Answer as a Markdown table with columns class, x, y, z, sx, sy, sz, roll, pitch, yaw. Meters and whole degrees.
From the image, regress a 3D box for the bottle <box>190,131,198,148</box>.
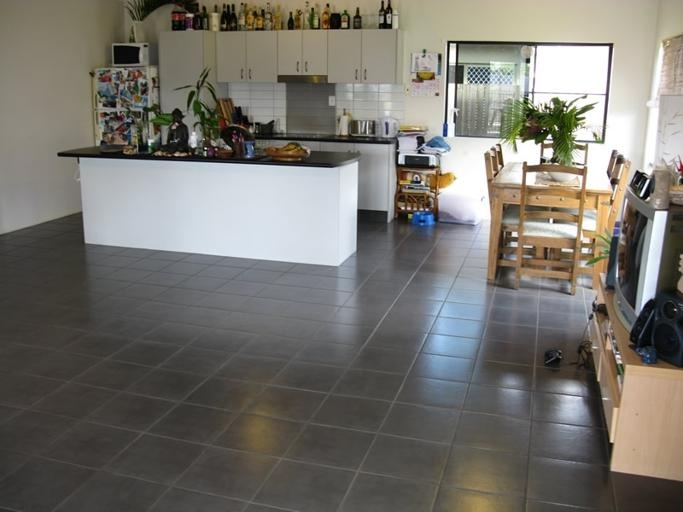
| class | x | y | z | sx | sy | sz | roll | pitch | yaw |
| --- | --- | --- | --- | --- | --- | --- | --- | --- | --- |
| bottle | -1.683 | -1.311 | 5.695 | 0.085 | 0.168 | 0.249 | -5 | 18 | -12 |

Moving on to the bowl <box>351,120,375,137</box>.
| class | x | y | z | sx | sy | sz | roll | pitch | yaw |
| --- | --- | --- | --- | --- | --- | --- | --- | --- | --- |
| bowl | 0.311 | -1.927 | 7.516 | 0.399 | 0.305 | 0.221 | 4 | 19 | 11 |

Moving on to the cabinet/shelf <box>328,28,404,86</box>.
| class | x | y | z | sx | sy | sz | roll | pitch | yaw |
| --- | --- | --- | --- | --- | --- | --- | --- | --- | --- |
| cabinet/shelf | 0.318 | -2.839 | 7.336 | 1.041 | 0.745 | 0.552 | 2 | 8 | 4 |

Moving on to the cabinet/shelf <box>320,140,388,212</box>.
| class | x | y | z | sx | sy | sz | roll | pitch | yaw |
| --- | --- | --- | --- | --- | --- | --- | --- | --- | --- |
| cabinet/shelf | 0.165 | -1.029 | 6.191 | 1.004 | 0.960 | 0.394 | 5 | 19 | 12 |

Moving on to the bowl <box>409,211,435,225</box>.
| class | x | y | z | sx | sy | sz | roll | pitch | yaw |
| --- | --- | --- | --- | --- | --- | --- | --- | --- | --- |
| bowl | 1.178 | -0.540 | 7.156 | 0.354 | 0.169 | 0.266 | -1 | 18 | -2 |

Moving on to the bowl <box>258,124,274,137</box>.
| class | x | y | z | sx | sy | sz | roll | pitch | yaw |
| --- | --- | --- | --- | --- | --- | --- | --- | --- | --- |
| bowl | -1.173 | -1.920 | 7.674 | 0.259 | 0.189 | 0.194 | 4 | 12 | 13 |

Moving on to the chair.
| class | x | y | z | sx | sy | sz | roll | pitch | yaw |
| --- | --- | --- | --- | --- | --- | --- | --- | --- | --- |
| chair | 2.175 | -0.544 | 5.313 | 1.298 | 1.179 | 1.580 | 3 | 15 | 15 |

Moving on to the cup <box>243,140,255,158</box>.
| class | x | y | z | sx | sy | sz | roll | pitch | yaw |
| --- | --- | --- | --- | --- | --- | --- | --- | --- | --- |
| cup | -0.989 | -1.142 | 5.375 | 0.122 | 0.174 | 0.239 | -5 | 18 | -12 |

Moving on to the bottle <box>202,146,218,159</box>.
| class | x | y | z | sx | sy | sz | roll | pitch | yaw |
| --- | --- | --- | --- | --- | --- | --- | --- | --- | --- |
| bottle | -1.420 | -1.130 | 5.438 | 0.136 | 0.132 | 0.130 | 7 | 22 | 8 |

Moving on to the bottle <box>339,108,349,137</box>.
| class | x | y | z | sx | sy | sz | roll | pitch | yaw |
| --- | --- | --- | --- | --- | --- | --- | --- | --- | --- |
| bottle | 0.043 | -2.004 | 7.543 | 0.158 | 0.366 | 0.209 | 4 | 18 | 16 |

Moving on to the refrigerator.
| class | x | y | z | sx | sy | sz | roll | pitch | yaw |
| --- | --- | --- | --- | --- | --- | --- | --- | --- | --- |
| refrigerator | -3.326 | -2.287 | 7.627 | 0.959 | 1.117 | 0.365 | 0 | 17 | 4 |

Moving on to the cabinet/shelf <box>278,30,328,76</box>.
| class | x | y | z | sx | sy | sz | roll | pitch | yaw |
| --- | --- | --- | --- | --- | --- | --- | --- | --- | --- |
| cabinet/shelf | -0.593 | -3.018 | 7.382 | 0.719 | 0.637 | 0.286 | -3 | 33 | -10 |

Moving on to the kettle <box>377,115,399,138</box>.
| class | x | y | z | sx | sy | sz | roll | pitch | yaw |
| --- | --- | --- | --- | --- | --- | --- | --- | --- | --- |
| kettle | 0.714 | -1.918 | 7.440 | 0.316 | 0.303 | 0.300 | -4 | 18 | -9 |

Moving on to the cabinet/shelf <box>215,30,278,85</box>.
| class | x | y | z | sx | sy | sz | roll | pitch | yaw |
| --- | --- | --- | --- | --- | --- | --- | --- | --- | --- |
| cabinet/shelf | -1.401 | -2.998 | 7.511 | 0.762 | 0.574 | 0.303 | 3 | 10 | 12 |
